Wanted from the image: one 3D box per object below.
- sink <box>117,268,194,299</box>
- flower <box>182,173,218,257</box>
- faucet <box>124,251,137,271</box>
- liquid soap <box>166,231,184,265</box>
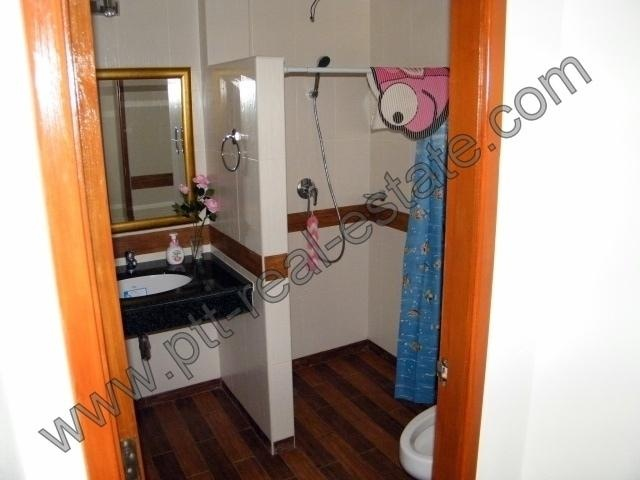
[{"bbox_3d":[-0.918,0.255,2.957,0.397,0.113,0.192,-4,15,1],"label":"sink"},{"bbox_3d":[-0.728,-0.119,3.193,0.255,0.512,0.235,-5,3,22],"label":"flower"},{"bbox_3d":[-1.089,0.124,3.026,0.055,0.116,0.062,-10,15,-23],"label":"faucet"},{"bbox_3d":[-0.881,0.053,3.168,0.103,0.190,0.126,-8,15,-17],"label":"liquid soap"}]
